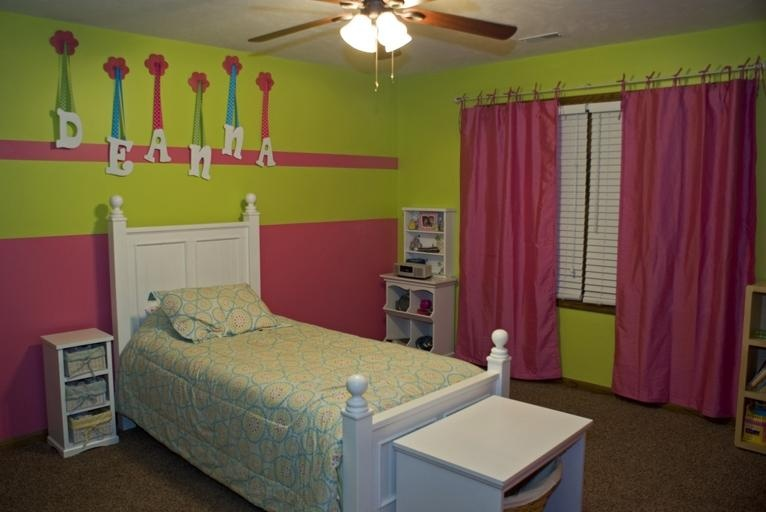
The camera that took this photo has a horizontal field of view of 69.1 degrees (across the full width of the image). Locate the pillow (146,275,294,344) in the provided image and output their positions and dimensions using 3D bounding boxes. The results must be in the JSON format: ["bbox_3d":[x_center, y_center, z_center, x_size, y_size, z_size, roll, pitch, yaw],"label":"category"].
[{"bbox_3d":[-1.389,0.462,4.775,0.605,0.188,0.693,37,27,32],"label":"pillow"}]

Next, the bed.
[{"bbox_3d":[-0.598,0.495,4.960,3.480,2.403,1.919,8,13,39],"label":"bed"}]

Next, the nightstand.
[{"bbox_3d":[-2.532,1.108,4.640,0.529,0.936,0.399,-7,11,-33],"label":"nightstand"}]
